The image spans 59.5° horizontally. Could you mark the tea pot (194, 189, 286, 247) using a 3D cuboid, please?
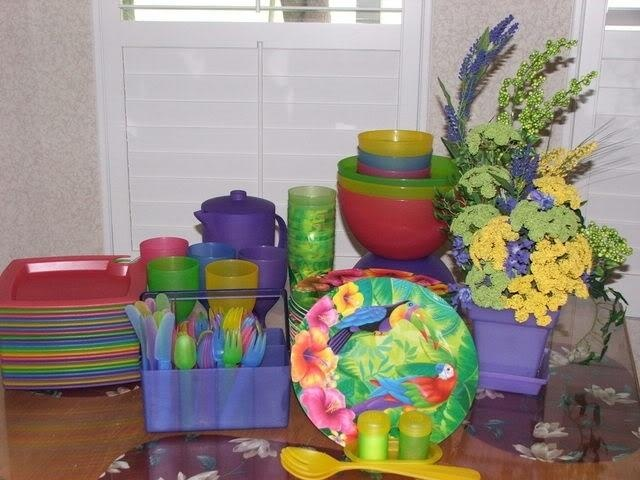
[{"bbox_3d":[-0.184,-0.044,1.324,0.180,0.138,0.212,2,10,13],"label":"tea pot"}]

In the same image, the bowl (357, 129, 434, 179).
[{"bbox_3d":[0.178,-0.200,1.294,0.164,0.094,0.157,0,25,0],"label":"bowl"}]

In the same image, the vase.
[{"bbox_3d":[0.323,0.188,1.050,0.211,0.183,0.164,1,7,10],"label":"vase"}]

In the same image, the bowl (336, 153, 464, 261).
[{"bbox_3d":[0.160,-0.074,1.221,0.242,0.161,0.244,1,8,0],"label":"bowl"}]

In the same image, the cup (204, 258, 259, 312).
[{"bbox_3d":[-0.166,0.081,1.061,0.102,0.104,0.098,0,3,0],"label":"cup"}]

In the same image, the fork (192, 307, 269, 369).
[{"bbox_3d":[-0.149,0.178,0.949,0.069,0.118,0.031,6,33,-8],"label":"fork"}]

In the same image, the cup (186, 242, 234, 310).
[{"bbox_3d":[-0.235,0.079,1.205,0.115,0.118,0.114,1,15,0],"label":"cup"}]

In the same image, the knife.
[{"bbox_3d":[-0.282,0.151,0.942,0.074,0.110,0.123,-2,10,-14],"label":"knife"}]

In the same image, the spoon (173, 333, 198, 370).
[{"bbox_3d":[-0.223,0.181,0.918,0.039,0.056,0.033,10,14,44],"label":"spoon"}]

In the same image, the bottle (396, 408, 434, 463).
[{"bbox_3d":[0.143,0.293,0.852,0.066,0.090,0.063,0,4,0],"label":"bottle"}]

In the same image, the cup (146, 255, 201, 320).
[{"bbox_3d":[-0.246,0.086,1.081,0.122,0.125,0.116,0,7,0],"label":"cup"}]
